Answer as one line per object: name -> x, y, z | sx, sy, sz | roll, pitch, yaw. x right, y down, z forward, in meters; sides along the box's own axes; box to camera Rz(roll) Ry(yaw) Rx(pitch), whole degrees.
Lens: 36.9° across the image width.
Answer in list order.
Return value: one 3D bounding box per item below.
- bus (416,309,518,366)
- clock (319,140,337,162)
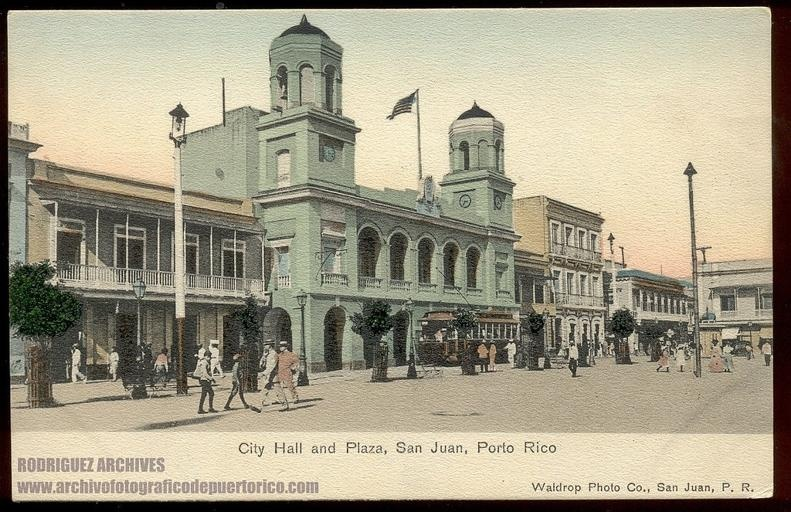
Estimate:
bus -> 3.322, 3.403, 50.758 | 5.137, 1.504, 1.524 | 0, 10, 4
clock -> -2.845, -4.292, 48.194 | 1.168, 0.990, 0.161 | 2, 0, -31
